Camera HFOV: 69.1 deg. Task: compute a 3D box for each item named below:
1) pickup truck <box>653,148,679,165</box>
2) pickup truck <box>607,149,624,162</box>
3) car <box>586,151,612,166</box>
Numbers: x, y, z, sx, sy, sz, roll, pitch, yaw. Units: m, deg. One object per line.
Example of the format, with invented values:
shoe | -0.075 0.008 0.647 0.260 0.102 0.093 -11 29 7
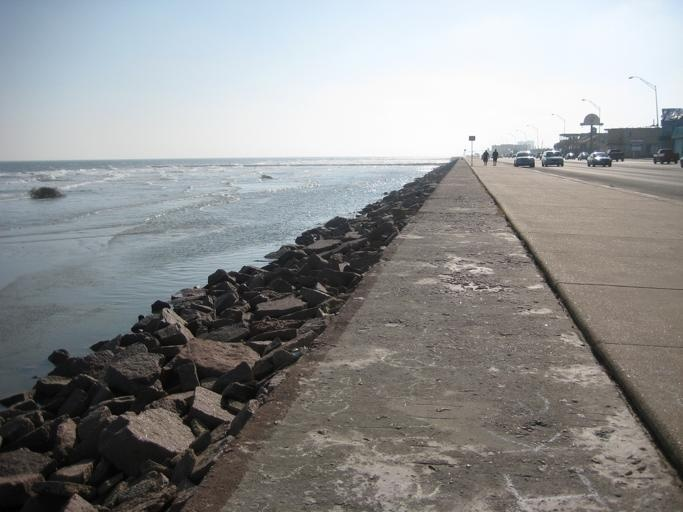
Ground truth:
pickup truck | 34.042 -10.388 51.909 1.701 1.047 2.926 4 15 37
pickup truck | 37.446 -13.785 68.191 2.439 1.236 3.497 0 13 10
car | 26.248 -9.877 50.617 1.903 0.986 2.791 -1 4 24
